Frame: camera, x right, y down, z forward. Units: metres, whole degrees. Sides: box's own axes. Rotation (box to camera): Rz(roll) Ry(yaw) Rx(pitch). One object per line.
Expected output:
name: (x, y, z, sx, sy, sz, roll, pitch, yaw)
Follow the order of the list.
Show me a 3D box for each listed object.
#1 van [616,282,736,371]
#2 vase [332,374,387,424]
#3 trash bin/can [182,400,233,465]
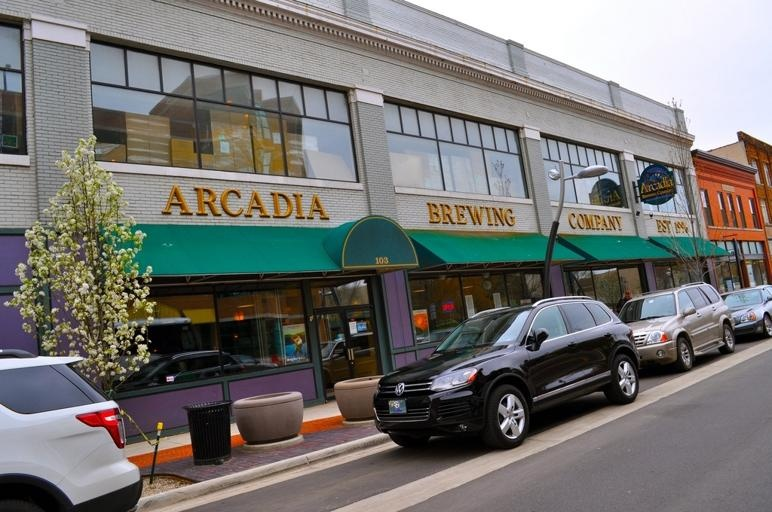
van: (8.204, 2.088, 14.536, 4.219, 1.926, 2.390, 6, -15, -42)
vase: (-0.673, 3.576, 12.035, 1.177, 0.887, 1.212, 2, -16, -2)
trash bin/can: (-3.458, 3.490, 9.854, 1.225, 1.264, 1.106, -1, -8, -16)
